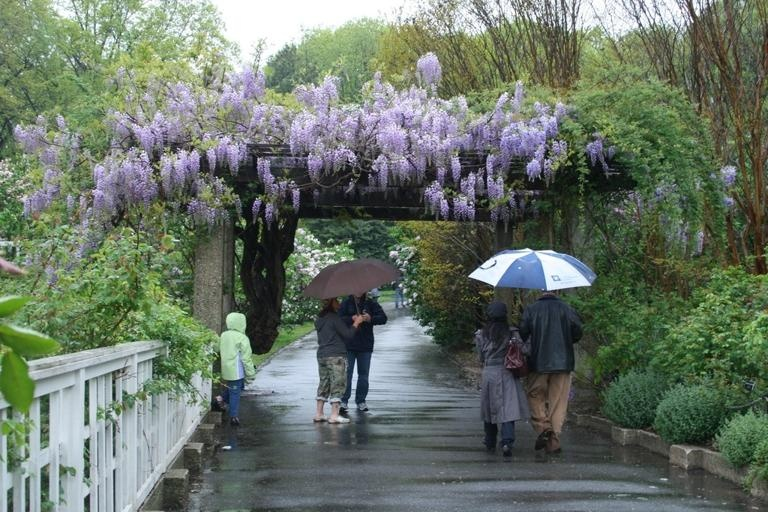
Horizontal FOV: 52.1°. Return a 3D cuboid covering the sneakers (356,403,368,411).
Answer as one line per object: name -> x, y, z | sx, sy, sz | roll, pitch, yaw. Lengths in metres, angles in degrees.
sneakers -> -0.360, 2.305, 12.031 | 0.090, 0.080, 0.190 | 1, -5, -10

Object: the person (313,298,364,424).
person -> -0.722, 1.466, 11.138 | 0.577, 1.743, 0.355 | 0, 1, 21

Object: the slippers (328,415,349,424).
slippers -> -0.662, 2.291, 11.075 | 0.273, 0.124, 0.121 | 0, -1, -2

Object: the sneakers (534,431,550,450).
sneakers -> 1.938, 2.270, 9.703 | 0.108, 0.288, 0.117 | 19, 7, -4

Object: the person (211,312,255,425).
person -> -2.203, 1.563, 11.363 | 0.535, 1.541, 1.769 | -1, 1, -12

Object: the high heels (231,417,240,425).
high heels -> -2.078, 2.297, 10.965 | 0.064, 0.132, 0.131 | 4, -1, 34

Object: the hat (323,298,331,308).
hat -> -0.835, 0.678, 11.246 | 0.082, 0.119, 0.104 | 1, -1, -7

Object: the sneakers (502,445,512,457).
sneakers -> 1.480, 2.333, 9.479 | 0.108, 0.143, 0.121 | 0, 1, 9

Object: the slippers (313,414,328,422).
slippers -> -0.931, 2.312, 11.173 | 0.194, 0.086, 0.082 | -4, 5, -44

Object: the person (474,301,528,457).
person -> 1.431, 1.484, 9.711 | 0.461, 1.811, 0.661 | -1, 1, -35
